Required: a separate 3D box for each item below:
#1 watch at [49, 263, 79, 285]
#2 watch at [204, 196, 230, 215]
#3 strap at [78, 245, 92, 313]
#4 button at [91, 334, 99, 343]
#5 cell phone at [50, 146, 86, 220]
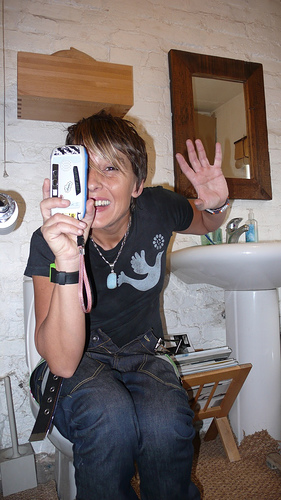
[{"bbox_3d":[-0.133,0.035,0.643,0.041,0.028,0.038,1,3,-42],"label":"watch"},{"bbox_3d":[0.218,-0.129,1.082,0.069,0.047,0.115,1,7,12],"label":"watch"},{"bbox_3d":[-0.104,0.056,0.654,0.019,0.105,0.051,0,7,-16],"label":"strap"},{"bbox_3d":[-0.101,0.194,0.813,0.015,0.013,0.020,-5,8,-33],"label":"button"},{"bbox_3d":[-0.124,-0.115,0.631,0.061,0.123,0.040,-1,6,-6],"label":"cell phone"}]
